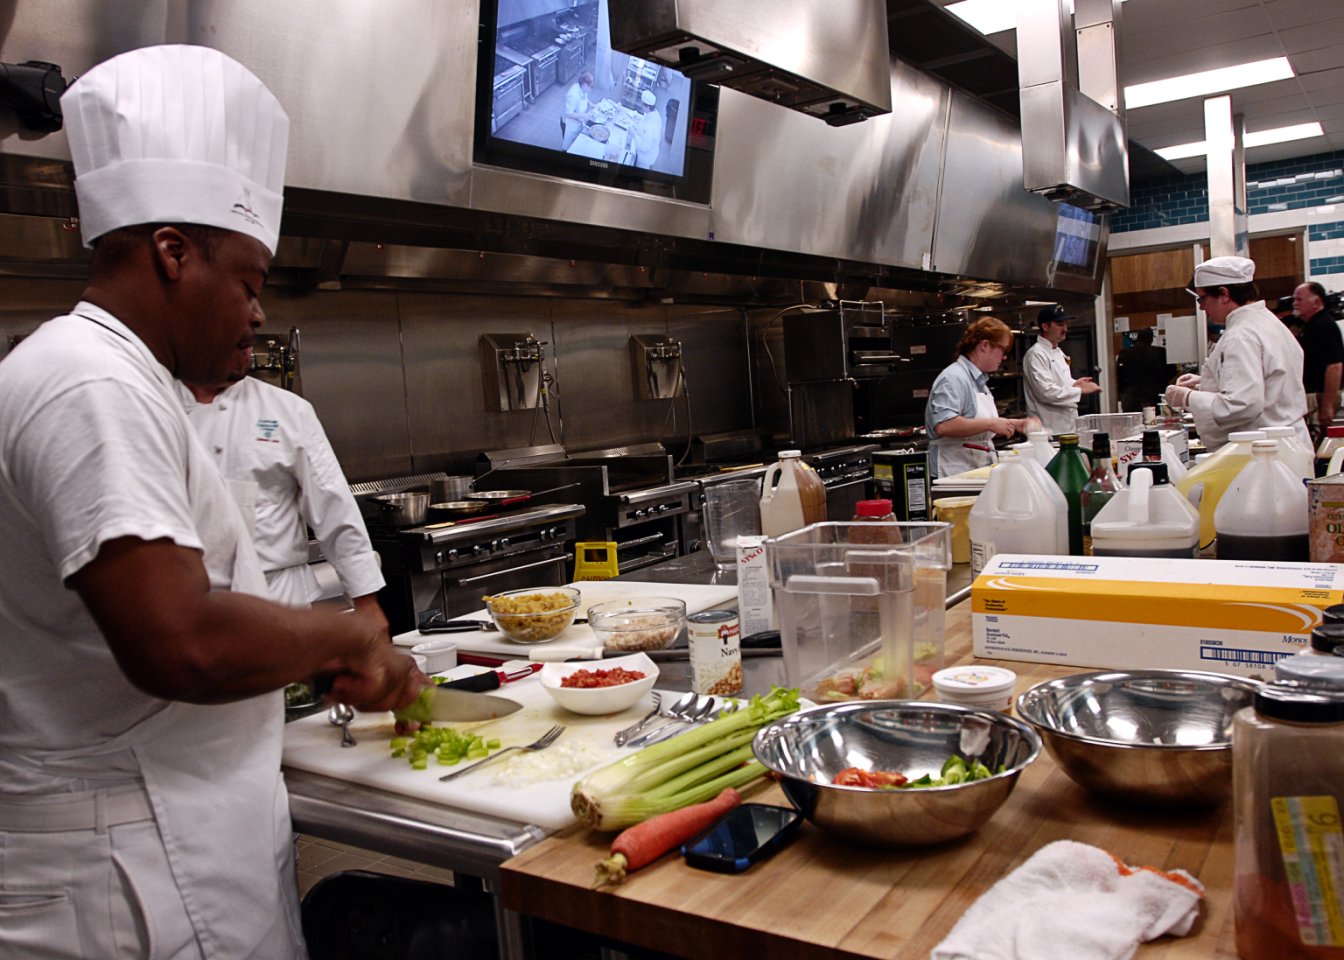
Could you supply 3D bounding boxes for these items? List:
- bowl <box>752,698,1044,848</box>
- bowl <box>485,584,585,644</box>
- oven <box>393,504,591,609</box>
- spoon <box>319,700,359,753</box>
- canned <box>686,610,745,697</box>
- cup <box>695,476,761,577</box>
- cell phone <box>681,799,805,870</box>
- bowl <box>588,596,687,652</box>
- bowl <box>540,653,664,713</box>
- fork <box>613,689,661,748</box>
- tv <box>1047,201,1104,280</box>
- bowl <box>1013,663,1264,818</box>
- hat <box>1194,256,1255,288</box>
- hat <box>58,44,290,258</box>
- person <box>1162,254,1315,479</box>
[{"bbox_3d":[0.321,0.415,1.334,0.348,0.154,0.425,1,4,-28],"label":"bowl"},{"bbox_3d":[-0.354,0.339,2.318,0.231,0.101,0.283,-6,7,-10],"label":"bowl"},{"bbox_3d":[-0.906,0.386,4.462,0.466,0.547,0.888,20,16,27],"label":"oven"},{"bbox_3d":[-0.662,0.481,1.780,0.040,0.032,0.185,-12,7,-11],"label":"spoon"},{"bbox_3d":[0.088,0.357,1.902,0.154,0.216,0.144,-2,4,4],"label":"canned"},{"bbox_3d":[0.191,0.150,2.742,0.177,0.302,0.416,-5,7,2],"label":"cup"},{"bbox_3d":[0.098,0.508,1.286,0.083,0.019,0.147,3,7,29],"label":"cell phone"},{"bbox_3d":[-0.083,0.346,2.163,0.225,0.099,0.258,-5,7,-3],"label":"bowl"},{"bbox_3d":[-0.145,0.410,1.774,0.222,0.067,0.176,-4,5,-4],"label":"bowl"},{"bbox_3d":[-0.071,0.442,1.668,0.069,0.009,0.195,14,7,16],"label":"fork"},{"bbox_3d":[4.589,-2.654,10.219,0.240,0.791,1.657,1,9,37],"label":"tv"},{"bbox_3d":[0.685,0.320,1.479,0.436,0.215,0.456,1,5,0],"label":"bowl"},{"bbox_3d":[3.188,-1.190,5.221,0.225,0.148,0.278,-7,9,-44],"label":"hat"},{"bbox_3d":[-0.813,-0.530,1.575,0.426,0.320,0.368,3,-9,-36],"label":"hat"},{"bbox_3d":[3.129,-0.733,5.021,0.638,1.036,0.791,0,9,34],"label":"person"}]
